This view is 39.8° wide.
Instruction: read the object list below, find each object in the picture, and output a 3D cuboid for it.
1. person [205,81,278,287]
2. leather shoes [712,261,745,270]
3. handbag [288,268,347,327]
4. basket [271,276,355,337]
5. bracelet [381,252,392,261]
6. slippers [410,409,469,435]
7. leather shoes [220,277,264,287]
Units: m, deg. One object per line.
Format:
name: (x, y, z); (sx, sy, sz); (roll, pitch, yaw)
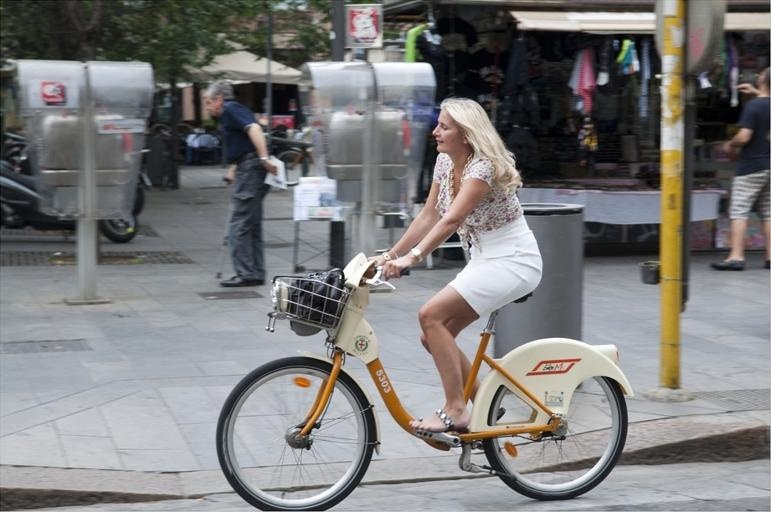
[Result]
person: (-1.736, -0.831, 12.888); (0.545, 2.459, 0.750); (-5, 11, -33)
leather shoes: (4.594, 0.129, 14.405); (0.462, 0.109, 0.135); (3, 2, 11)
handbag: (-0.481, 0.311, 7.630); (0.580, 0.262, 0.469); (1, 2, -8)
basket: (-0.546, 0.340, 7.625); (0.774, 0.343, 0.366); (2, -2, -8)
bracelet: (-0.001, 0.010, 7.798); (0.056, 0.063, 0.070); (-29, -7, -15)
slippers: (0.395, 1.240, 7.850); (0.410, 0.098, 0.173); (3, -3, 0)
leather shoes: (-1.769, 0.325, 13.168); (0.592, 0.148, 0.154); (2, 1, -6)
